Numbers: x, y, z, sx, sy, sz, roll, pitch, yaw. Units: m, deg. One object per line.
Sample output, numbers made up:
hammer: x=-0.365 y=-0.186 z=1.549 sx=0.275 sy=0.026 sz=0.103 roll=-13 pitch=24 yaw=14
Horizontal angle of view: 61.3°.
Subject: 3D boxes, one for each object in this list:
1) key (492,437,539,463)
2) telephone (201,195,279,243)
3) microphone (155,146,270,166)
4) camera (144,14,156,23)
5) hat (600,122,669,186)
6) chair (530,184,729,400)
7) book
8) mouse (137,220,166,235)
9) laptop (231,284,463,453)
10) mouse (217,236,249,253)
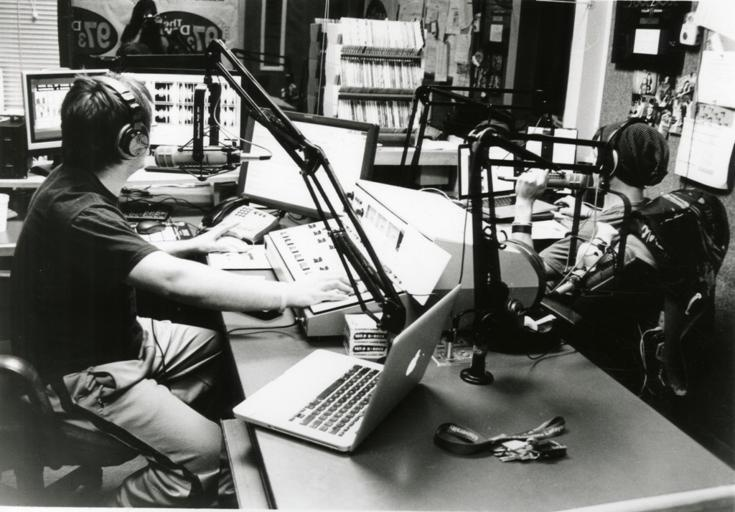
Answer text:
key: x=0.388 y=0.499 z=1.590 sx=0.077 sy=0.023 sz=0.059 roll=-9 pitch=23 yaw=-14
telephone: x=-0.533 y=-0.154 z=2.621 sx=0.233 sy=0.083 sz=0.220 roll=22 pitch=38 yaw=28
microphone: x=-0.614 y=-0.391 z=2.422 sx=0.546 sy=0.114 sz=0.128 roll=1 pitch=10 yaw=5
camera: x=-1.210 y=-1.328 z=3.456 sx=0.061 sy=0.058 sz=0.136 roll=-3 pitch=15 yaw=-19
hat: x=0.895 y=-0.332 z=2.067 sx=0.151 sy=0.158 sz=0.196 roll=-14 pitch=41 yaw=-7
chair: x=0.939 y=0.030 z=2.388 sx=0.653 sy=0.765 sz=0.655 roll=9 pitch=17 yaw=25
book: x=0.055 y=-0.951 z=3.145 sx=0.487 sy=0.631 sz=0.212 roll=0 pitch=6 yaw=-9
mouse: x=-0.940 y=-0.125 z=2.682 sx=0.088 sy=0.028 sz=0.065 roll=-9 pitch=22 yaw=-16
laptop: x=-0.055 y=0.371 z=1.680 sx=0.495 sy=0.328 sz=0.467 roll=12 pitch=24 yaw=25
mouse: x=-0.530 y=-0.043 z=2.427 sx=0.088 sy=0.028 sz=0.064 roll=1 pitch=14 yaw=-6
